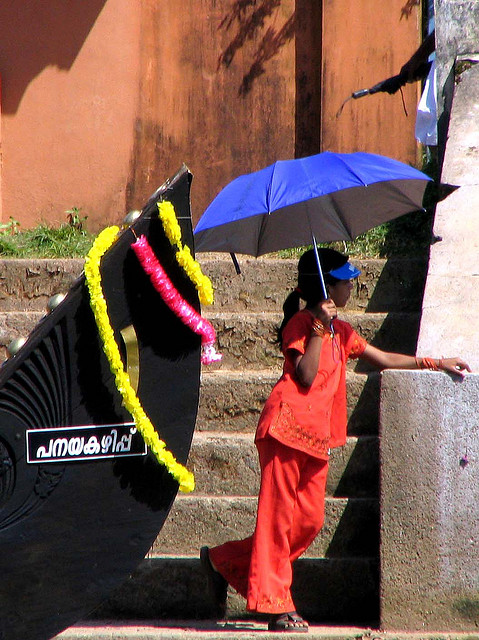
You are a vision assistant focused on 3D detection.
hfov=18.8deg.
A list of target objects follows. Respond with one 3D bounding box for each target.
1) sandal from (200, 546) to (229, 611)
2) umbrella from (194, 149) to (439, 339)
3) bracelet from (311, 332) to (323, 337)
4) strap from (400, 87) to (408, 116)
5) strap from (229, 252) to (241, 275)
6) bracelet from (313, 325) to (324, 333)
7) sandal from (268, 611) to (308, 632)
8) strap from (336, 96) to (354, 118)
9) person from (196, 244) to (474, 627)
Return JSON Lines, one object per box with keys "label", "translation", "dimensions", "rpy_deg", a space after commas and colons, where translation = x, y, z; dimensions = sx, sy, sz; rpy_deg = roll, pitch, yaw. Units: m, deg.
{"label": "sandal", "translation": [-0.159, 1.323, 7.421], "dimensions": [0.231, 0.275, 0.232], "rpy_deg": [2, 16, -2]}
{"label": "umbrella", "translation": [0.301, -0.421, 7.652], "dimensions": [1.118, 0.968, 1.187], "rpy_deg": [-17, -3, 30]}
{"label": "bracelet", "translation": [0.378, 0.067, 7.171], "dimensions": [0.053, 0.021, 0.014], "rpy_deg": [3, 4, 3]}
{"label": "strap", "translation": [1.162, -1.579, 10.328], "dimensions": [0.017, 0.197, 0.022], "rpy_deg": [-10, 3, -17]}
{"label": "strap", "translation": [-0.028, -0.322, 8.199], "dimensions": [0.019, 0.032, 0.224], "rpy_deg": [42, 22, -41]}
{"label": "bracelet", "translation": [0.390, 0.043, 7.168], "dimensions": [0.059, 0.011, 0.012], "rpy_deg": [47, 36, 5]}
{"label": "sandal", "translation": [0.232, 1.477, 7.133], "dimensions": [0.146, 0.087, 0.090], "rpy_deg": [-1, -4, 1]}
{"label": "strap", "translation": [0.713, -1.497, 10.051], "dimensions": [0.051, 0.024, 0.421], "rpy_deg": [-13, 29, 30]}
{"label": "person", "translation": [0.371, 0.611, 7.422], "dimensions": [1.063, 1.975, 0.846], "rpy_deg": [-1, 5, -34]}
